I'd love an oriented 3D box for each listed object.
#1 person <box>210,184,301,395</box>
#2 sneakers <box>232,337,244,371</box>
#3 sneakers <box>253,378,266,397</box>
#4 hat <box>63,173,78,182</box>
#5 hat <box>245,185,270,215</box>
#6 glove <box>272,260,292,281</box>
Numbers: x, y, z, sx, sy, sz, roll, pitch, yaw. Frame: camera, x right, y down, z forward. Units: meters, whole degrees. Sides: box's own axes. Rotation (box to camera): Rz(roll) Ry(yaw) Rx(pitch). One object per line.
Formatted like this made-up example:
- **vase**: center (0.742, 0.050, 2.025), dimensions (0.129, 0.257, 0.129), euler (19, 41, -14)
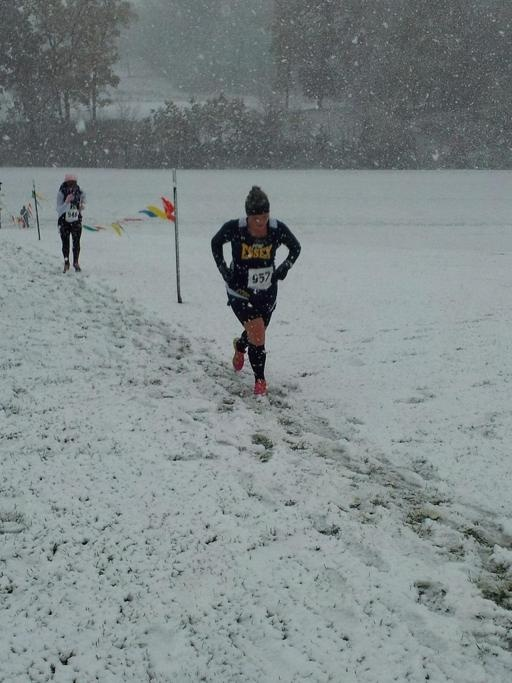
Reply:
- **person**: center (0.000, -0.439, 7.873), dimensions (0.743, 1.778, 1.044), euler (-1, 13, 0)
- **sneakers**: center (-0.161, 0.125, 8.510), dimensions (0.105, 0.302, 0.130), euler (-8, 14, -26)
- **sneakers**: center (0.033, 0.397, 7.964), dimensions (0.087, 0.136, 0.142), euler (1, -10, -2)
- **hat**: center (-2.221, -1.960, 11.083), dimensions (0.129, 0.070, 0.183), euler (-3, 16, -19)
- **hat**: center (0.007, -1.114, 7.335), dimensions (0.180, 0.196, 0.247), euler (-4, 47, -3)
- **glove**: center (0.224, -0.588, 7.724), dimensions (0.128, 0.167, 0.064), euler (10, -29, 29)
